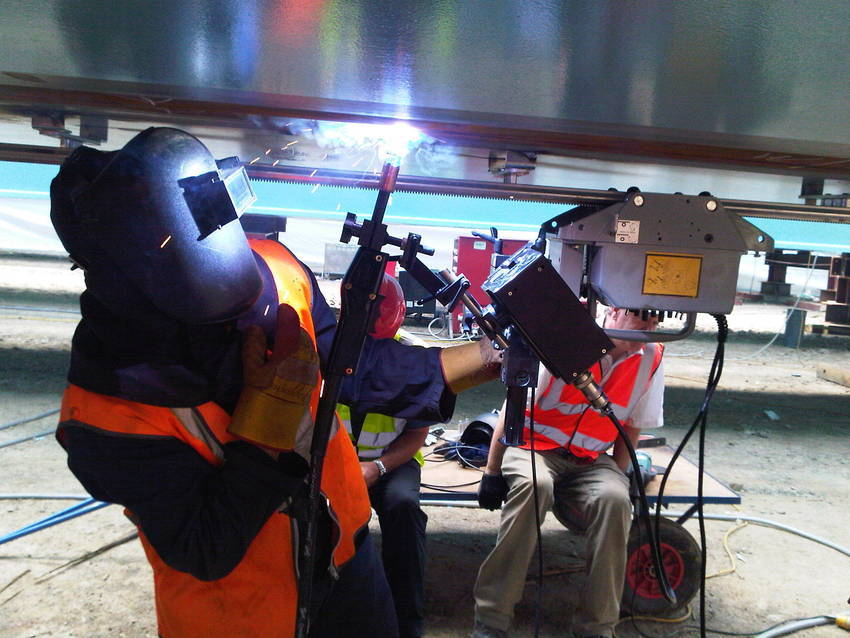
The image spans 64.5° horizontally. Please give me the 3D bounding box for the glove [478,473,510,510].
[{"bbox_3d":[0.329,0.830,3.278,0.179,0.150,0.145,-1,-1,-42],"label":"glove"}]
